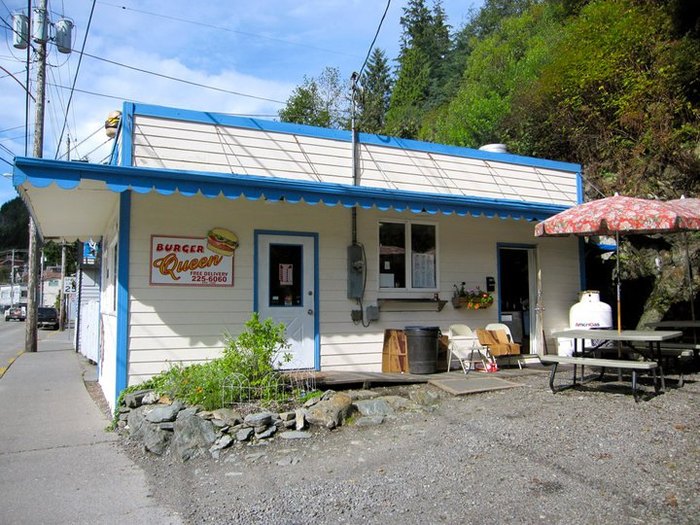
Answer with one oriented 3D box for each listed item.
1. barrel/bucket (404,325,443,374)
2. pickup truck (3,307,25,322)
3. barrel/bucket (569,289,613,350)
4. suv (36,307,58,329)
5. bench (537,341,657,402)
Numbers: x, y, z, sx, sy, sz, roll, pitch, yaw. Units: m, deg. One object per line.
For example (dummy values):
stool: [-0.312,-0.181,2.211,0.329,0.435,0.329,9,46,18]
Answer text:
barrel/bucket: [1.377,1.676,11.603,0.800,0.938,0.788,1,-7,0]
pickup truck: [-27.487,4.105,49.198,1.280,1.104,2.773,-1,2,-24]
barrel/bucket: [5.115,1.260,12.347,0.680,1.317,0.726,-5,-6,-1]
suv: [-18.755,3.470,37.167,1.136,1.584,1.998,-7,9,-29]
bench: [4.413,1.822,10.448,1.806,0.980,2.621,1,9,29]
